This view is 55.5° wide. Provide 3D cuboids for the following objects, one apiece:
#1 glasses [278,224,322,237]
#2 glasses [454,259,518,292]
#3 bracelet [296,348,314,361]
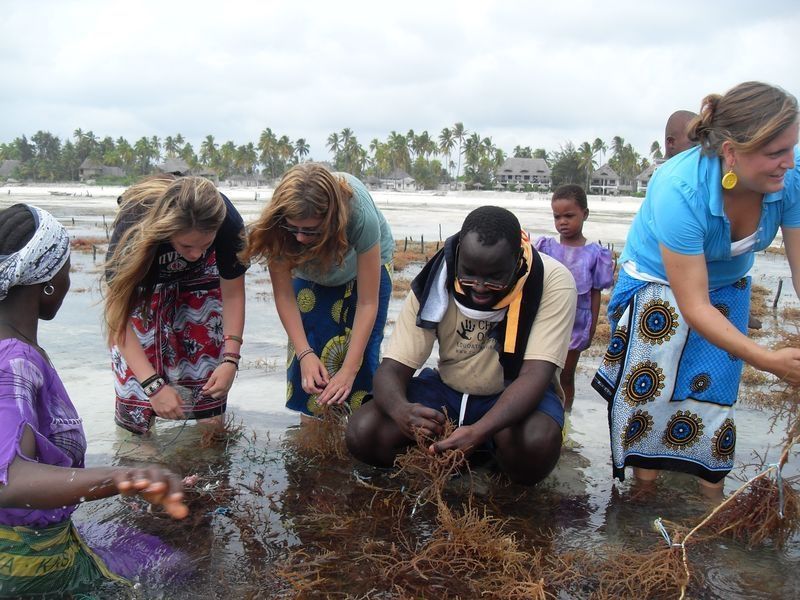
[{"bbox_3d":[-0.566,-0.399,4.297,0.224,0.071,0.122,5,11,34],"label":"glasses"},{"bbox_3d":[0.423,-0.133,4.053,0.347,0.174,0.210,3,11,27],"label":"glasses"},{"bbox_3d":[-0.594,0.337,4.744,0.076,0.021,0.078,-27,-7,-29],"label":"bracelet"}]
